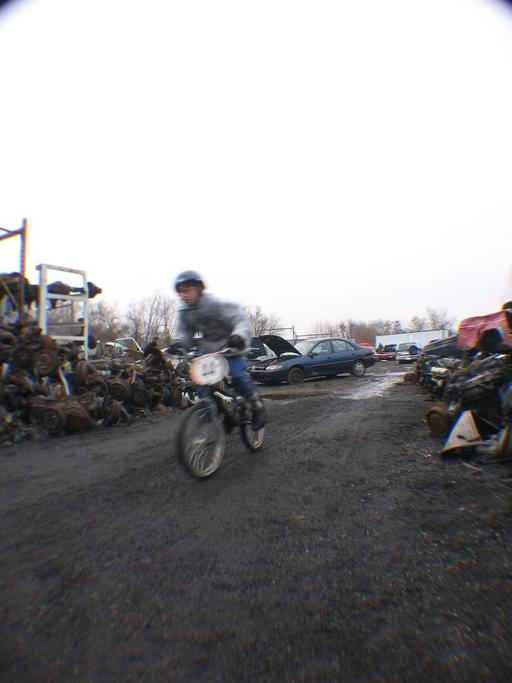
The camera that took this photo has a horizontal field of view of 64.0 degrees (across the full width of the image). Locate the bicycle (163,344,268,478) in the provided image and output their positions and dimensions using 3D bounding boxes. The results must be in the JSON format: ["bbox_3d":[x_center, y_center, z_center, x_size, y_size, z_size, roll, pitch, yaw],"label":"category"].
[{"bbox_3d":[-0.233,0.601,3.937,0.706,1.127,1.897,-5,-6,20],"label":"bicycle"}]

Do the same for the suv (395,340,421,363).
[{"bbox_3d":[10.459,0.732,27.951,1.754,1.558,3.578,-6,-4,17],"label":"suv"}]

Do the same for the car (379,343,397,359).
[{"bbox_3d":[12.484,1.042,38.151,1.329,0.868,2.014,-6,-5,37],"label":"car"}]

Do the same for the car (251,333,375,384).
[{"bbox_3d":[1.954,0.641,13.653,4.631,1.301,0.793,-1,-3,-36],"label":"car"}]
